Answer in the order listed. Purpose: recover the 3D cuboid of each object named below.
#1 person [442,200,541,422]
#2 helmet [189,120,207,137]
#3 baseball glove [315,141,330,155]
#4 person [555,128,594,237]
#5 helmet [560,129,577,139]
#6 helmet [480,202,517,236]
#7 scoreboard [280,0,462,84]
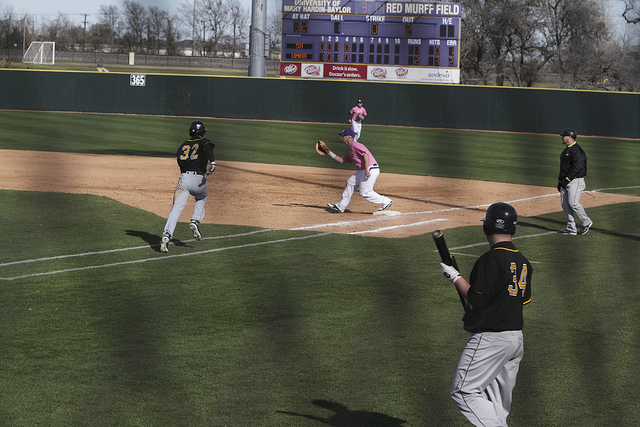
[{"bbox_3d":[1.877,1.086,7.876,0.832,2.349,0.563,-2,10,-10],"label":"person"},{"bbox_3d":[-2.305,-1.591,13.674,0.286,0.290,0.320,14,18,34],"label":"helmet"},{"bbox_3d":[0.021,-1.426,16.363,0.193,0.362,0.516,-12,-15,18],"label":"baseball glove"},{"bbox_3d":[5.373,-0.658,15.380,0.687,2.174,0.908,3,10,19],"label":"person"},{"bbox_3d":[5.259,-1.692,15.357,0.458,0.199,0.300,12,9,19],"label":"helmet"},{"bbox_3d":[1.965,0.059,7.986,0.330,0.307,0.401,3,10,-19],"label":"helmet"},{"bbox_3d":[2.568,-8.628,36.711,8.276,4.059,2.018,2,10,13],"label":"scoreboard"}]
